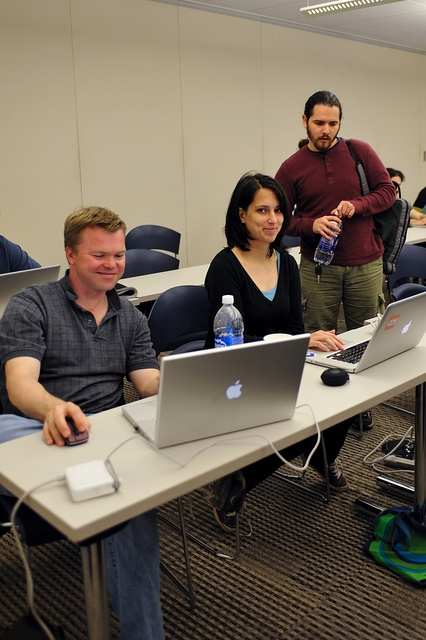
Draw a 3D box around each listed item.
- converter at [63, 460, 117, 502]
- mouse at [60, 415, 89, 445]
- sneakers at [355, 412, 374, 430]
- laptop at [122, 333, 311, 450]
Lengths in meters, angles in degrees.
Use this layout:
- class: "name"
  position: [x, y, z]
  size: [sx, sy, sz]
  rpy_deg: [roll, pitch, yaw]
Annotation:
- class: "converter"
  position: [-0.191, 0.242, 0.728]
  size: [0.070, 0.027, 0.106]
  rpy_deg: [-5, 8, -27]
- class: "mouse"
  position: [-0.274, 0.220, 0.936]
  size: [0.044, 0.037, 0.075]
  rpy_deg: [-3, 8, -18]
- class: "sneakers"
  position: [0.813, 0.539, 2.546]
  size: [0.062, 0.074, 0.185]
  rpy_deg: [0, 0, 21]
- class: "laptop"
  position: [0.012, 0.109, 0.890]
  size: [0.313, 0.200, 0.218]
  rpy_deg: [-8, 26, -31]
